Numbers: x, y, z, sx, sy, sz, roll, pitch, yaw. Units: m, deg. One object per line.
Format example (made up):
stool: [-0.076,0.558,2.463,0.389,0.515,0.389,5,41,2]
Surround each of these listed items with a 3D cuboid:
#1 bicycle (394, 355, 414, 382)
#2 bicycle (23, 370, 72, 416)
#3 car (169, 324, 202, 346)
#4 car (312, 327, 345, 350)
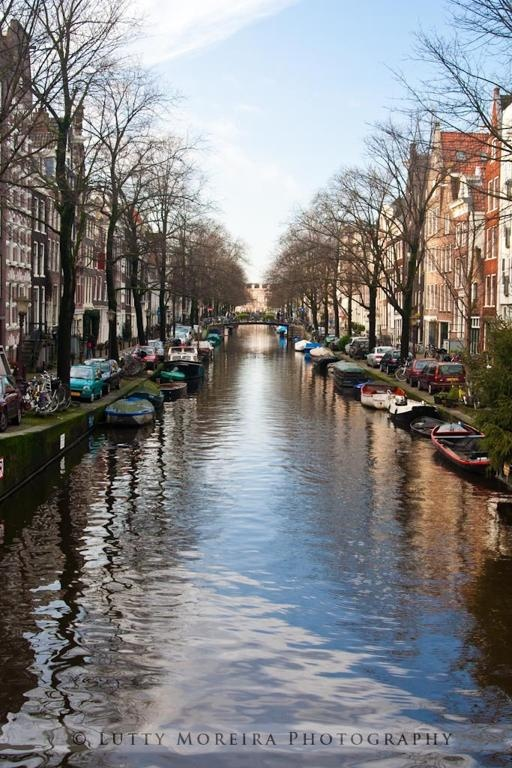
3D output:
bicycle: [9.309,-1.127,47.578,1.030,0.872,1.741,3,37,10]
bicycle: [-7.058,0.408,25.128,0.911,1.120,1.849,-5,3,-44]
car: [-7.596,-5.322,80.272,2.483,1.896,5.546,-1,0,2]
car: [8.518,-5.285,88.777,1.798,2.029,5.632,-1,3,-2]
